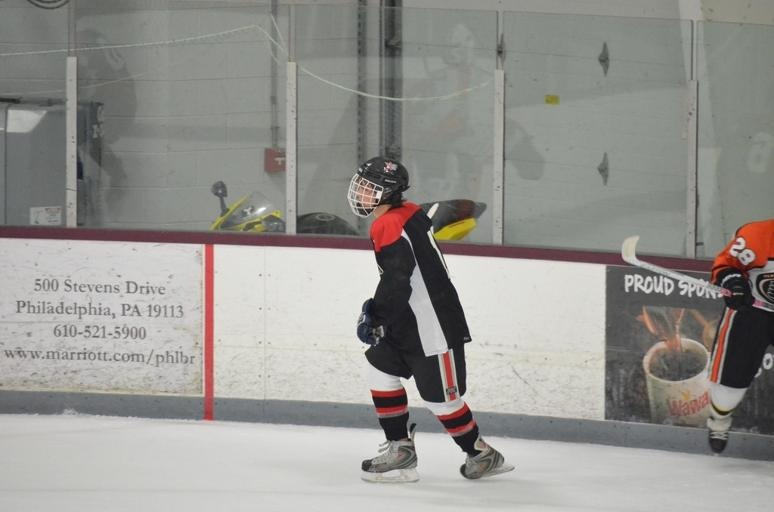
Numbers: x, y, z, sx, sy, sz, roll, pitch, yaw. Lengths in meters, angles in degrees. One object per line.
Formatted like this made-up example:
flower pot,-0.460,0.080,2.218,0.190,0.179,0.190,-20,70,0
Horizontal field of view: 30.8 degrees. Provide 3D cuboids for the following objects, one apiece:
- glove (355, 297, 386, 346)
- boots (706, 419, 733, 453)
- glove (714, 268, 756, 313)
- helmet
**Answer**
glove,-0.132,0.482,9.376,0.137,0.286,0.216,-1,48,-15
boots,2.374,1.283,10.049,0.117,0.312,0.237,4,7,20
glove,2.427,0.236,9.816,0.262,0.270,0.115,1,5,13
helmet,-0.070,-0.455,9.495,0.460,0.376,0.344,5,5,0
